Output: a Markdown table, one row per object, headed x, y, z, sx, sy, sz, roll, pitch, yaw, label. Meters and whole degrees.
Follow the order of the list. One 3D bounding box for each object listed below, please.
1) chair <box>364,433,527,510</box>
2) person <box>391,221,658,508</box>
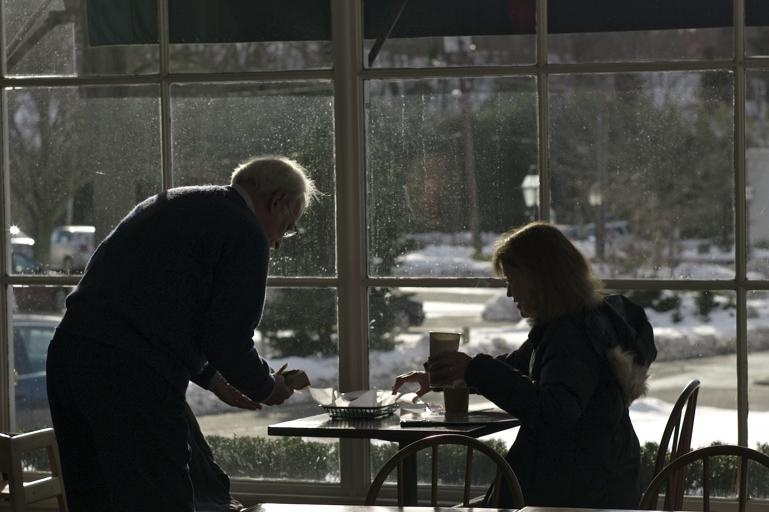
| x | y | z | sx | sy | sz | roll | pitch | yaw | label |
| --- | --- | --- | --- | --- | --- | --- | --- | --- | --- |
| 0.275 | 0.953 | 7.392 | 0.683 | 0.383 | 0.924 | -1 | 0 | 5 | chair |
| 0.629 | 0.600 | 7.699 | 1.086 | 1.814 | 0.890 | 2 | -16 | 15 | person |
